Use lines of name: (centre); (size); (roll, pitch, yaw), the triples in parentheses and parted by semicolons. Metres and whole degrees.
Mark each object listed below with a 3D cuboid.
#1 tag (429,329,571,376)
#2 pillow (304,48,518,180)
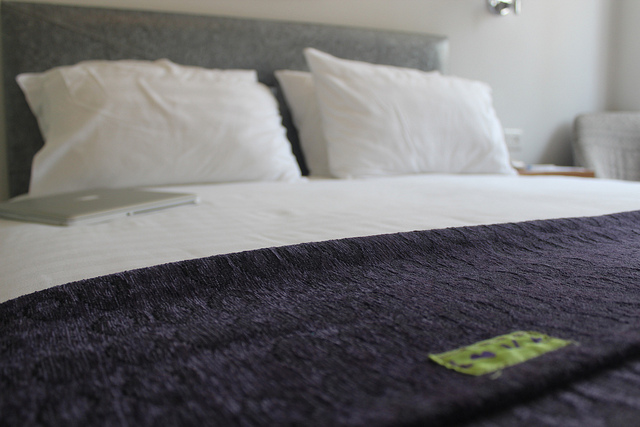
tag: (0.195, 0.147, 0.511); (0.088, 0.004, 0.041); (-8, 15, -24)
pillow: (0.372, -0.348, 1.866); (0.890, 0.472, 0.242); (-7, 2, -33)
